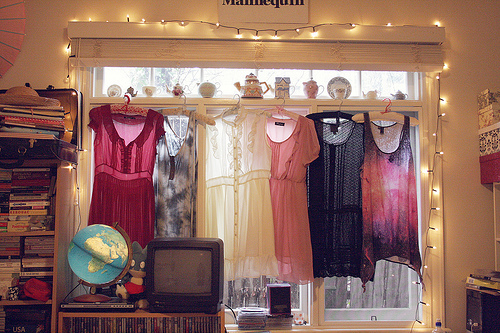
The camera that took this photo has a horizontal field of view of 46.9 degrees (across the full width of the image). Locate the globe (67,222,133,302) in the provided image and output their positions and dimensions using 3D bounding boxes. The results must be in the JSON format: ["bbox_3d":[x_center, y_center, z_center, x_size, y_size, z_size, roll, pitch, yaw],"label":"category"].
[{"bbox_3d":[-1.257,0.836,4.868,0.522,0.670,0.406,7,4,-28],"label":"globe"}]

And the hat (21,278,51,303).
[{"bbox_3d":[-1.754,1.026,4.775,0.234,0.186,0.096,4,-7,-15],"label":"hat"}]

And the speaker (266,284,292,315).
[{"bbox_3d":[0.260,1.174,5.146,0.220,0.240,0.230,2,3,1],"label":"speaker"}]

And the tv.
[{"bbox_3d":[-0.521,0.869,4.816,0.666,0.633,0.560,0,-7,1],"label":"tv"}]
